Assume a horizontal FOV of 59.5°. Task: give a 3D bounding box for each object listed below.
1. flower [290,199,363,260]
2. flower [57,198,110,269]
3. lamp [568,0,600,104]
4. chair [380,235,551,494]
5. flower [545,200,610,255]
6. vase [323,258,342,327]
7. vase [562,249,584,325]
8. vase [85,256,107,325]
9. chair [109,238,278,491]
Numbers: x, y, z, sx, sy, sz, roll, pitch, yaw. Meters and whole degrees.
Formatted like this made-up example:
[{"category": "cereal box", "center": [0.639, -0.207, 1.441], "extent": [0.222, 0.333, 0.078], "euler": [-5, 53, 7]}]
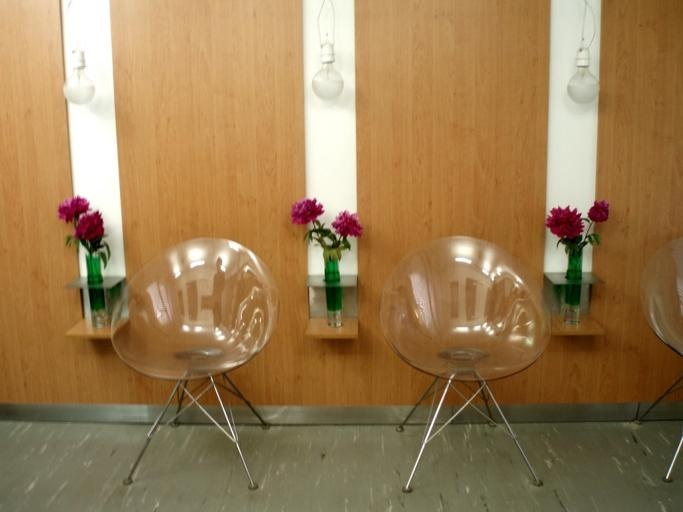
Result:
[{"category": "flower", "center": [-0.076, -0.106, 3.299], "extent": [0.375, 0.415, 0.252], "euler": [8, 14, 5]}, {"category": "flower", "center": [-1.401, -0.062, 3.336], "extent": [0.214, 0.385, 0.297], "euler": [10, 14, 34]}, {"category": "lamp", "center": [1.277, -1.077, 3.164], "extent": [0.149, 0.545, 0.220], "euler": [1, 13, 27]}, {"category": "chair", "center": [0.463, 0.455, 3.198], "extent": [1.010, 1.471, 1.032], "euler": [-2, 13, -3]}, {"category": "flower", "center": [1.302, -0.126, 3.330], "extent": [0.281, 0.334, 0.312], "euler": [3, 30, 18]}, {"category": "vase", "center": [-0.048, 0.184, 3.315], "extent": [0.095, 0.399, 0.161], "euler": [-5, 11, -1]}, {"category": "vase", "center": [1.273, 0.145, 3.280], "extent": [0.098, 0.406, 0.107], "euler": [-1, 5, -9]}, {"category": "vase", "center": [-1.362, 0.178, 3.334], "extent": [0.096, 0.418, 0.102], "euler": [12, 20, 25]}, {"category": "chair", "center": [-0.696, 0.489, 2.810], "extent": [0.798, 1.040, 0.791], "euler": [-2, 4, -36]}]
